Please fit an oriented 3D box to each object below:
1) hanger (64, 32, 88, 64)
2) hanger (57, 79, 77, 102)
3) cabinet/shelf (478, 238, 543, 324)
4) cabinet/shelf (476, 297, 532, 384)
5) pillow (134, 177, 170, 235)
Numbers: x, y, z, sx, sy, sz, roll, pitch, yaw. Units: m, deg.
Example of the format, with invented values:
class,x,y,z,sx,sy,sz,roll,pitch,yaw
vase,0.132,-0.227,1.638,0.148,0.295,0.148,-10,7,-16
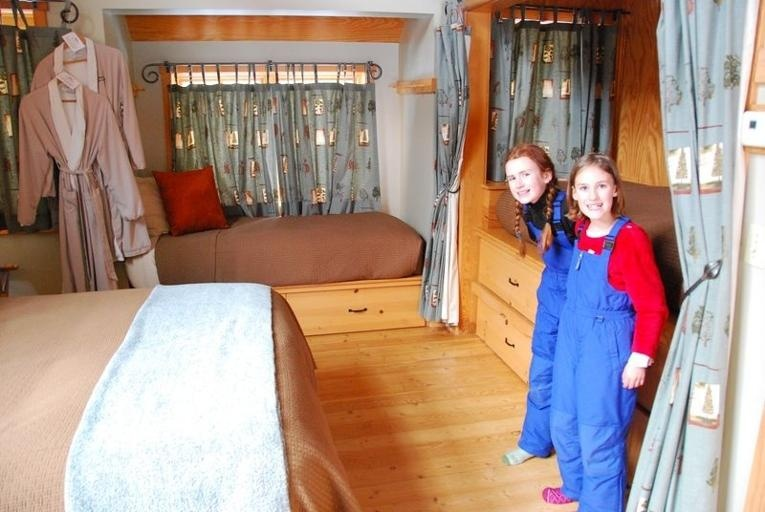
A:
class,x,y,z,sx,sy,sz,roll,pitch,yaw
hanger,-2.074,-1.406,3.659,0.153,0.175,0.074,-8,16,-17
hanger,-2.126,-1.114,3.660,0.130,0.132,0.045,1,22,-2
cabinet/shelf,0.860,0.138,3.681,0.420,0.382,0.769,-2,19,-9
cabinet/shelf,0.859,0.582,3.806,0.424,0.306,0.608,-1,20,-6
pillow,-1.835,-0.397,4.338,0.171,0.425,0.425,-10,17,-23
